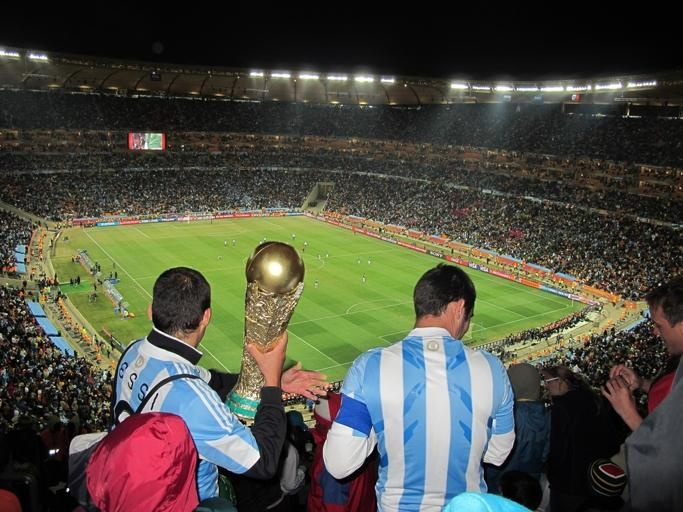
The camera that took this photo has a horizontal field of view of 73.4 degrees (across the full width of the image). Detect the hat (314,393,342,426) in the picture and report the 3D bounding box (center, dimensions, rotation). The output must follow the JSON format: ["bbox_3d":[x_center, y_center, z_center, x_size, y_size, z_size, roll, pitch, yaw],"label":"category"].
[{"bbox_3d":[-0.125,1.336,4.032,0.222,0.205,0.276,6,3,5],"label":"hat"}]

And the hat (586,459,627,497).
[{"bbox_3d":[2.116,1.794,3.655,0.243,0.320,0.217,7,3,29],"label":"hat"}]
